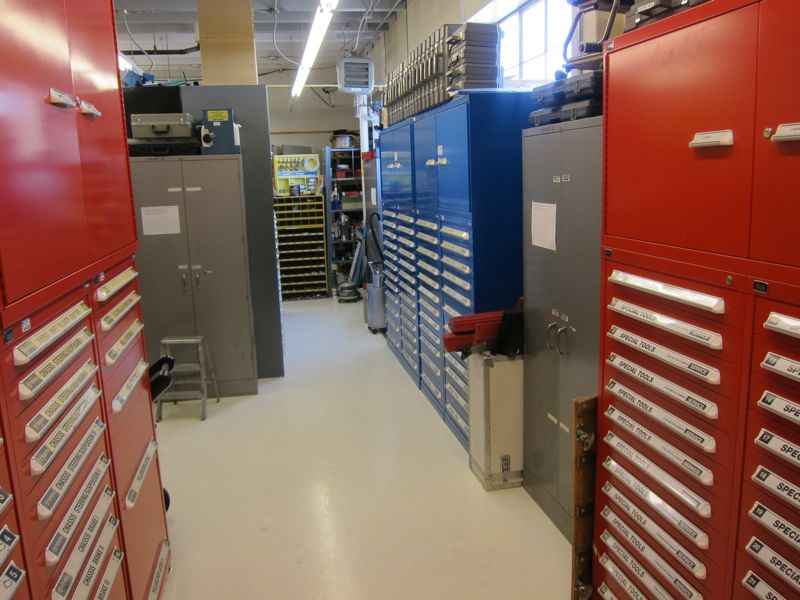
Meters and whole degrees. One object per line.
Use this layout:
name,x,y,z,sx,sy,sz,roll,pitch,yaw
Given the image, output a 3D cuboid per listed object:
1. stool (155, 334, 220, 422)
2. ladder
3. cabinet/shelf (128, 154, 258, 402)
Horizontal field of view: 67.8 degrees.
stool,-1.927,0.674,5.350,0.384,0.672,0.475,-3,5,-10
ladder,-1.905,0.675,5.344,0.414,0.676,0.461,-2,5,0
cabinet/shelf,-1.917,-0.457,5.572,0.876,2.108,0.667,-2,35,-13
